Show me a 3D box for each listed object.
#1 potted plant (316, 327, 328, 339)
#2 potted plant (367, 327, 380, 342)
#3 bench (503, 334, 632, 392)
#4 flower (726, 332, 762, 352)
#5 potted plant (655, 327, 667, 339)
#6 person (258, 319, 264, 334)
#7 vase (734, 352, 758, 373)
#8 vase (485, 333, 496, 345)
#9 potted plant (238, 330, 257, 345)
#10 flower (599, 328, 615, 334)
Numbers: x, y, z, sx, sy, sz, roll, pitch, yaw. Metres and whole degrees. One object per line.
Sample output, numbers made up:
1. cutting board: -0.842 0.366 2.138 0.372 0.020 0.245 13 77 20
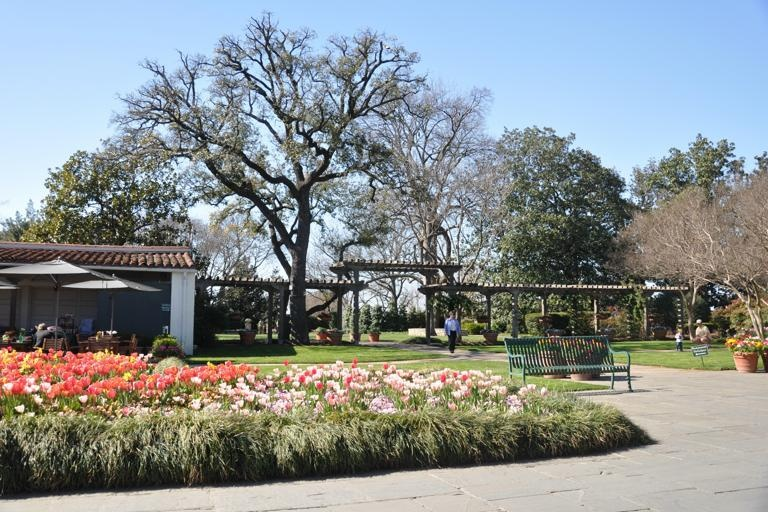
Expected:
1. potted plant: -2.841 3.613 31.856 0.617 0.591 0.622 4 -8 -21
2. potted plant: -0.460 3.754 32.926 0.709 0.745 0.686 1 -10 -7
3. bench: 4.115 2.441 15.242 2.554 1.146 0.925 0 1 -13
4. flower: 10.677 2.549 20.253 1.106 0.571 1.199 0 -8 26
5. potted plant: 14.823 4.110 36.812 1.028 0.571 0.443 2 1 -43
6. person: -7.939 4.532 44.305 0.481 0.796 1.210 2 0 -10
7. vase: 10.021 2.979 19.066 0.550 0.456 0.560 4 -11 -14
8. vase: 4.885 3.799 31.423 0.490 0.395 0.505 -3 -8 21
9. potted plant: -5.919 3.448 29.312 0.592 0.457 0.610 0 -4 24
10. flower: 10.944 3.679 33.595 0.544 0.273 0.554 -1 -4 -11
